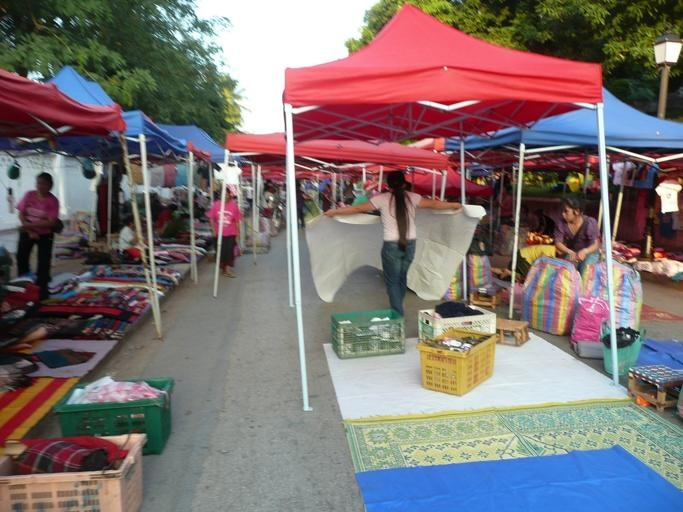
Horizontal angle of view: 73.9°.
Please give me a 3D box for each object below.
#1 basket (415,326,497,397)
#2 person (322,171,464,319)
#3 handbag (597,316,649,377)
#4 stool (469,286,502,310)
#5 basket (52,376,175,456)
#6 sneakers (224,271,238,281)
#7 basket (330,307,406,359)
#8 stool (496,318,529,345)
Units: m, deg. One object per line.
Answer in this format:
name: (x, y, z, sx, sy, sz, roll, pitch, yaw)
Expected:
basket: (1.309, 1.163, 5.059, 0.578, 0.395, 0.876, 2, 6, 43)
person: (0.705, -0.191, 6.282, 1.657, 1.945, 0.738, -2, 13, -2)
handbag: (3.184, 1.109, 5.404, 0.542, 0.501, 0.552, 0, -6, 6)
stool: (2.510, 0.747, 7.972, 0.422, 0.278, 0.405, 7, 19, 28)
basket: (-1.938, 1.399, 4.075, 0.644, 0.345, 0.792, -1, -3, -4)
sneakers: (-2.681, 0.443, 10.920, 0.384, 0.215, 0.125, 0, 9, 17)
basket: (0.358, 1.007, 5.958, 0.932, 0.471, 0.484, -3, 12, -11)
stool: (2.295, 1.018, 6.168, 0.409, 0.157, 0.397, -8, 10, -41)
